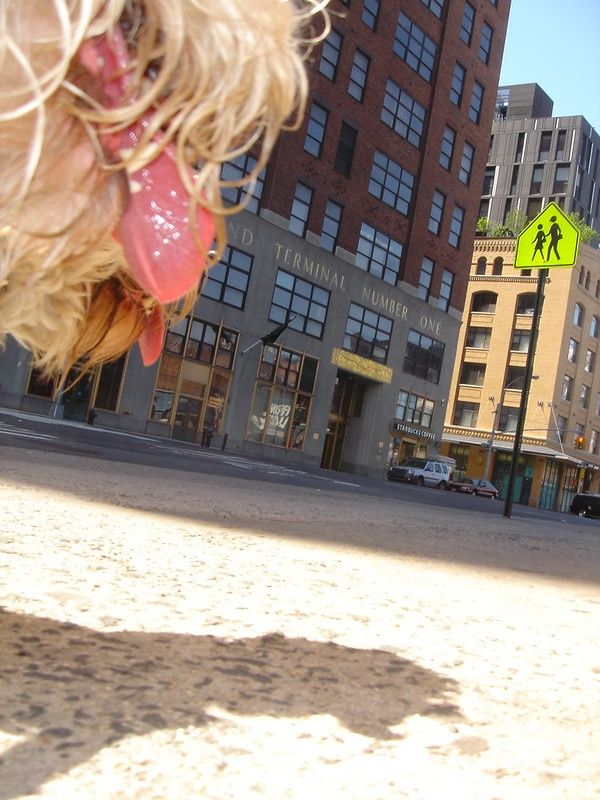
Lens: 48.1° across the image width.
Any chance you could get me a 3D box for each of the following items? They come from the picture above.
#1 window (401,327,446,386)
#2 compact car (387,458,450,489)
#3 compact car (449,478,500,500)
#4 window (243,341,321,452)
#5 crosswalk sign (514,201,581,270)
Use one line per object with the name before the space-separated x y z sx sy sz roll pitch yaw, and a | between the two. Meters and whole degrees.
window | 6.426 -2.403 35.622 0.101 1.801 3.208 4 -5 37
compact car | 6.395 3.865 36.446 1.778 1.176 3.076 0 -13 43
compact car | 11.200 5.591 43.457 3.672 1.050 1.524 14 -7 -38
window | -0.915 -0.272 28.775 0.445 5.221 5.304 12 7 38
crosswalk sign | 5.748 -3.742 15.615 1.277 1.749 1.049 10 -7 13
